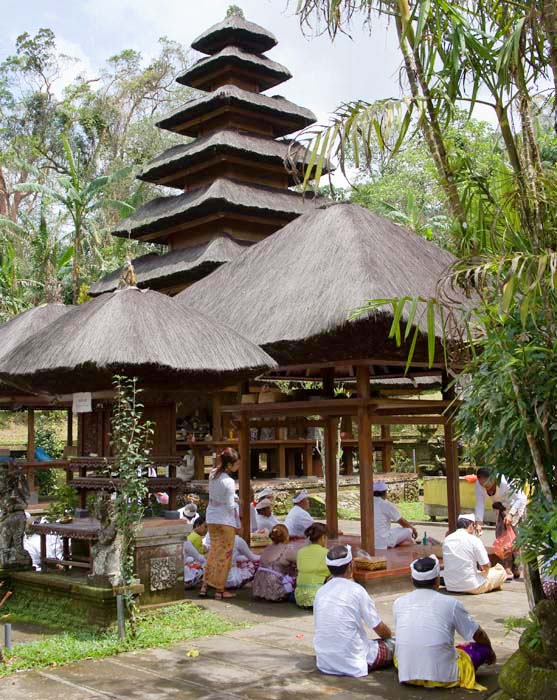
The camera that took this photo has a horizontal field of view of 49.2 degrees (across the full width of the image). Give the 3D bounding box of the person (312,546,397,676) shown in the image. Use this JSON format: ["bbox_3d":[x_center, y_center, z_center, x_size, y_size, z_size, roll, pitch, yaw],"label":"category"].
[{"bbox_3d":[0.508,1.746,4.098,0.534,0.815,0.439,0,-11,-8],"label":"person"}]

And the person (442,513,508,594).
[{"bbox_3d":[2.191,2.320,6.973,0.707,0.819,0.740,3,-13,-9],"label":"person"}]

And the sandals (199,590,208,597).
[{"bbox_3d":[-0.826,2.721,6.772,0.046,0.057,0.144,-1,-17,4],"label":"sandals"}]

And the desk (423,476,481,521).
[{"bbox_3d":[3.816,3.437,14.017,1.275,0.957,0.711,4,-16,-9],"label":"desk"}]

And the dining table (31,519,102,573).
[{"bbox_3d":[-2.339,2.210,6.672,0.793,0.410,0.610,5,-17,-9],"label":"dining table"}]

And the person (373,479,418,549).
[{"bbox_3d":[1.591,2.291,8.470,0.523,0.957,1.345,-5,-11,18],"label":"person"}]

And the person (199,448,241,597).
[{"bbox_3d":[-0.650,1.920,6.733,0.372,1.597,0.707,1,-11,-14],"label":"person"}]

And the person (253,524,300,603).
[{"bbox_3d":[-0.043,2.346,6.717,0.481,0.774,0.369,-2,-11,0],"label":"person"}]

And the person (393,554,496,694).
[{"bbox_3d":[1.006,1.672,3.760,0.636,0.778,0.422,6,-13,-35],"label":"person"}]
